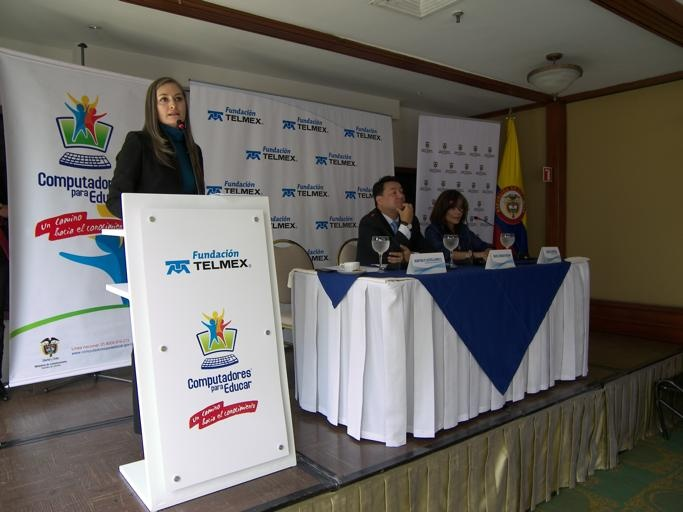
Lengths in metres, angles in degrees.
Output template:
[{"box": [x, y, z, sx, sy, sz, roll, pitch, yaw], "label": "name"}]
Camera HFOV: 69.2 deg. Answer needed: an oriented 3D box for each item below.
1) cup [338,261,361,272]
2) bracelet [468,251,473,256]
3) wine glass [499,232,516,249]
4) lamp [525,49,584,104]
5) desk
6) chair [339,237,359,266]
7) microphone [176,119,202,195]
[{"box": [0.028, 0.065, 2.979, 0.089, 0.046, 0.063, -2, 0, 27], "label": "cup"}, {"box": [0.904, -0.019, 3.442, 0.036, 0.038, 0.025, 0, -7, -35], "label": "bracelet"}, {"box": [1.154, -0.098, 3.425, 0.077, 0.120, 0.241, 1, 9, 16], "label": "wine glass"}, {"box": [2.056, -1.763, 4.773, 0.406, 0.313, 0.429, -4, 9, -19], "label": "lamp"}, {"box": [0.309, 0.328, 3.101, 1.622, 0.834, 0.952, -4, 6, -33], "label": "desk"}, {"box": [0.063, -0.046, 4.394, 0.184, 0.275, 0.211, -1, -6, 12], "label": "chair"}, {"box": [-0.867, -0.554, 2.778, 0.106, 0.404, 0.097, -6, 2, -25], "label": "microphone"}]
